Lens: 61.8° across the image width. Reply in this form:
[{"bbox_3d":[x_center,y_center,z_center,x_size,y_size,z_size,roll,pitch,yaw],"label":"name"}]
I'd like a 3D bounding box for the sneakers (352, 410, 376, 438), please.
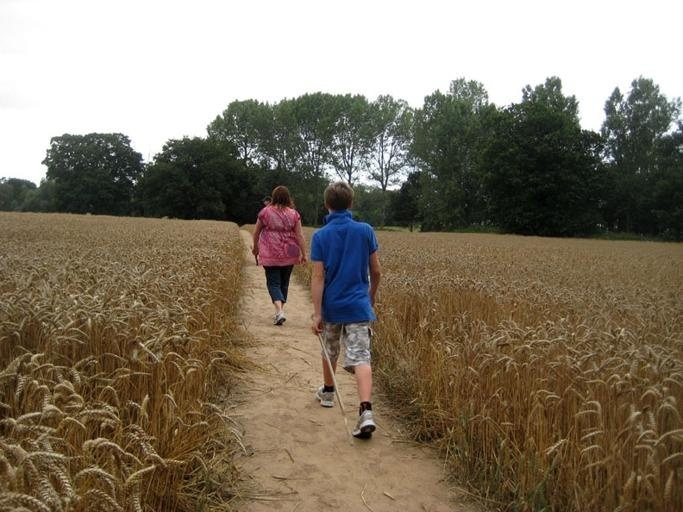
[{"bbox_3d":[0.197,1.535,5.217,0.189,0.328,0.237,2,11,-3],"label":"sneakers"}]

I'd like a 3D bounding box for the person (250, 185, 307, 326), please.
[{"bbox_3d":[-0.978,-0.015,8.947,0.810,2.086,0.723,0,11,-11],"label":"person"}]

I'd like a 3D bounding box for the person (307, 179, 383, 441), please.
[{"bbox_3d":[0.074,0.451,5.566,0.608,2.278,1.000,-8,15,-43],"label":"person"}]

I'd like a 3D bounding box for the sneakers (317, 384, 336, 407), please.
[{"bbox_3d":[-0.165,1.441,5.891,0.096,0.146,0.263,2,7,-8],"label":"sneakers"}]

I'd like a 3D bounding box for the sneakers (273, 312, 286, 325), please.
[{"bbox_3d":[-0.962,0.966,8.858,0.097,0.134,0.272,2,-35,-19],"label":"sneakers"}]
